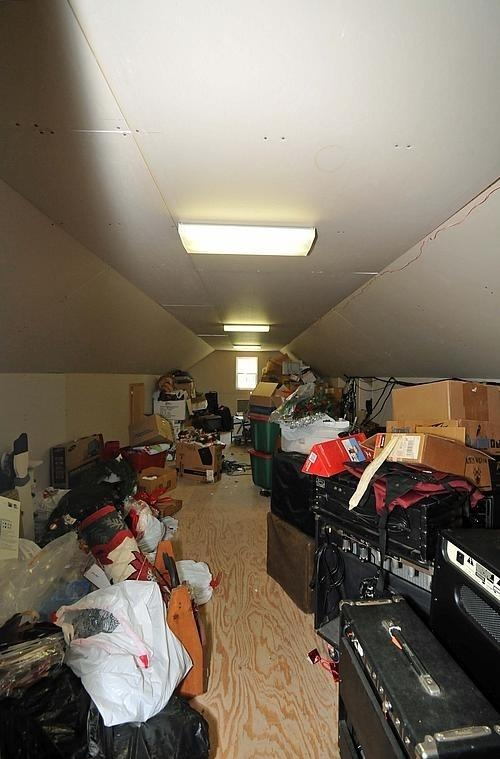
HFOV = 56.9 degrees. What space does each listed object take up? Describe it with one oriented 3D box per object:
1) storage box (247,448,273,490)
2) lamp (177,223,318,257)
[{"bbox_3d":[0.083,0.825,4.142,0.203,0.373,0.440,8,2,-12],"label":"storage box"},{"bbox_3d":[-0.017,-0.588,1.926,0.367,0.058,0.090,2,-24,3],"label":"lamp"}]
